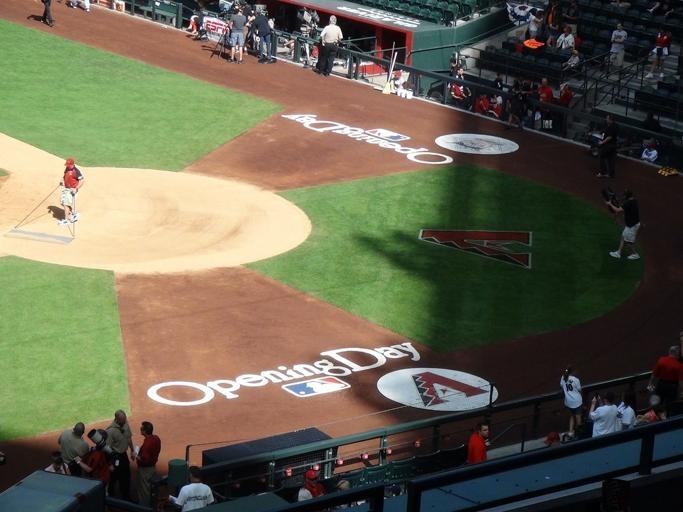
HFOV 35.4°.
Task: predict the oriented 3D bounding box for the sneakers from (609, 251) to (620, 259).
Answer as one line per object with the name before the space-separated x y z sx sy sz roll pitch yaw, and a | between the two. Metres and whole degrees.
sneakers | 8.082 -0.062 31.900 0.153 0.118 0.312 6 16 -34

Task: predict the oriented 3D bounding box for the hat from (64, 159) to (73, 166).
hat | -7.906 -2.679 30.980 0.315 0.171 0.390 5 13 -20
